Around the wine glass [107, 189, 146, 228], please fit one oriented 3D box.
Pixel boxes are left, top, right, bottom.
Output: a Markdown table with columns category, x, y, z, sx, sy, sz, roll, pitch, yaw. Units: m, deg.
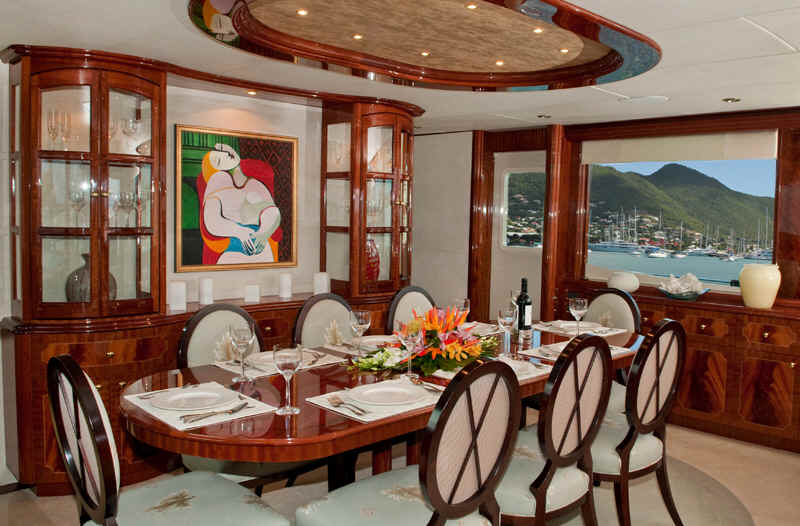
| category | x | y | z | sx | sy | sz | roll | pitch | yaw |
| --- | --- | --- | --- | --- | --- | --- | --- | --- | --- |
| wine glass | -2.126 | -0.431 | 4.318 | 0.259 | 0.268 | 0.257 | 5 | 4 | 24 |

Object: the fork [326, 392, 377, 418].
| category | x | y | z | sx | sy | sz | roll | pitch | yaw |
| --- | --- | --- | --- | --- | --- | --- | --- | --- | --- |
| fork | -0.277 | 0.728 | 2.892 | 0.091 | 0.046 | 0.326 | -9 | 9 | -27 |

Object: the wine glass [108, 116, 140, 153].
| category | x | y | z | sx | sy | sz | roll | pitch | yaw |
| --- | --- | --- | --- | --- | --- | --- | --- | --- | --- |
| wine glass | -2.108 | -0.982 | 4.292 | 0.258 | 0.266 | 0.246 | 2 | 4 | -13 |

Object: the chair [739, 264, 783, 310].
| category | x | y | z | sx | sy | sz | roll | pitch | yaw |
| --- | --- | --- | --- | --- | --- | --- | --- | --- | --- |
| chair | 3.329 | 0.212 | 5.249 | 0.408 | 0.441 | 0.404 | -7 | 6 | -45 |

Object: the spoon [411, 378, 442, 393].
| category | x | y | z | sx | sy | sz | roll | pitch | yaw |
| --- | --- | --- | --- | --- | --- | --- | --- | --- | --- |
| spoon | 0.153 | 0.711 | 3.191 | 0.057 | 0.045 | 0.229 | 20 | -8 | -29 |

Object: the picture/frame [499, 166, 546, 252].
| category | x | y | z | sx | sy | sz | roll | pitch | yaw |
| --- | --- | --- | --- | --- | --- | --- | --- | --- | --- |
| picture/frame | 1.658 | -0.715 | 7.425 | 0.487 | 0.994 | 0.211 | 2 | 6 | 35 |

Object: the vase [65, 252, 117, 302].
| category | x | y | z | sx | sy | sz | roll | pitch | yaw |
| --- | --- | --- | --- | --- | --- | --- | --- | --- | --- |
| vase | -2.234 | 0.111 | 4.133 | 0.353 | 0.458 | 0.363 | 0 | -3 | 44 |

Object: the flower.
| category | x | y | z | sx | sy | sz | roll | pitch | yaw |
| --- | --- | --- | --- | --- | --- | --- | --- | --- | --- |
| flower | 0.140 | 0.404 | 3.462 | 0.557 | 0.208 | 0.565 | -8 | 3 | -45 |

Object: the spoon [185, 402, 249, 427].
| category | x | y | z | sx | sy | sz | roll | pitch | yaw |
| --- | --- | --- | --- | --- | --- | --- | --- | --- | --- |
| spoon | -0.931 | 0.769 | 2.808 | 0.290 | 0.036 | 0.040 | -7 | 12 | -35 |
